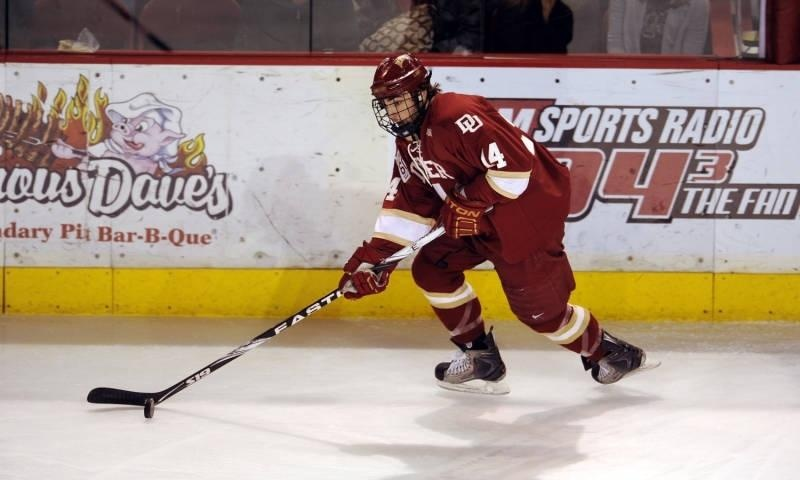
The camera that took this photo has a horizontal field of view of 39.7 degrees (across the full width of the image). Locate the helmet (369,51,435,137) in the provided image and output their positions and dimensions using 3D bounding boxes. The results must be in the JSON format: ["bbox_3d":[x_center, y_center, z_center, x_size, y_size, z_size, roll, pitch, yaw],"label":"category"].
[{"bbox_3d":[0.017,-0.832,6.475,0.373,0.484,0.157,2,14,1],"label":"helmet"}]

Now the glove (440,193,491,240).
[{"bbox_3d":[0.361,-0.124,6.448,0.298,0.249,0.115,3,46,0],"label":"glove"}]

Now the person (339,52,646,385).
[{"bbox_3d":[0.478,-0.068,6.623,1.636,2.028,0.373,2,14,2],"label":"person"}]

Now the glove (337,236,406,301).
[{"bbox_3d":[-0.198,0.180,6.621,0.437,0.310,0.192,-34,-16,4],"label":"glove"}]

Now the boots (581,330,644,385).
[{"bbox_3d":[1.302,0.719,6.848,0.478,0.265,0.238,0,8,-42],"label":"boots"}]

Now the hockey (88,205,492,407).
[{"bbox_3d":[-0.714,0.424,7.178,2.226,0.362,0.178,-27,53,-18],"label":"hockey"}]
